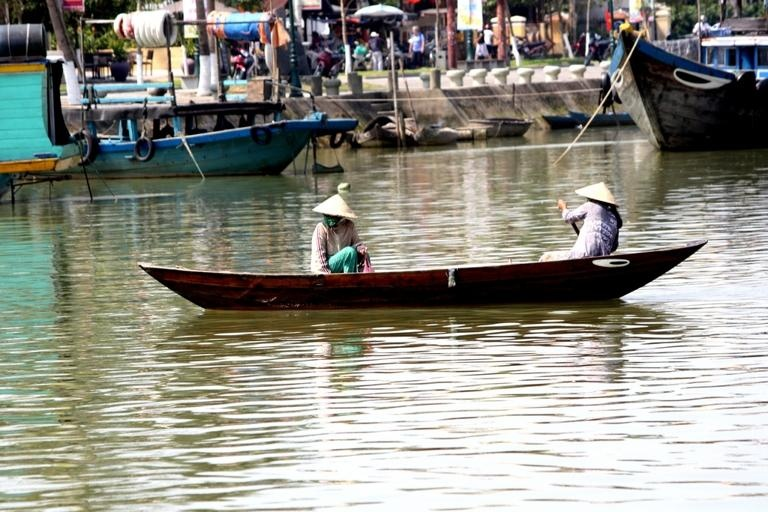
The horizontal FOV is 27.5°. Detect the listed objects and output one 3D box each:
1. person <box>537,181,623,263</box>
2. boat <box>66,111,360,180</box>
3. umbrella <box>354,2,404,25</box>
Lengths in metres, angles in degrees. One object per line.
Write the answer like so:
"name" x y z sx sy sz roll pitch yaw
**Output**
"person" 3.511 -0.459 23.026 0.858 1.397 2.386 1 0 7
"boat" -4.185 -2.590 36.793 9.220 2.220 2.611 0 -1 -12
"umbrella" -0.127 -8.366 54.282 1.595 0.605 1.592 2 11 23
